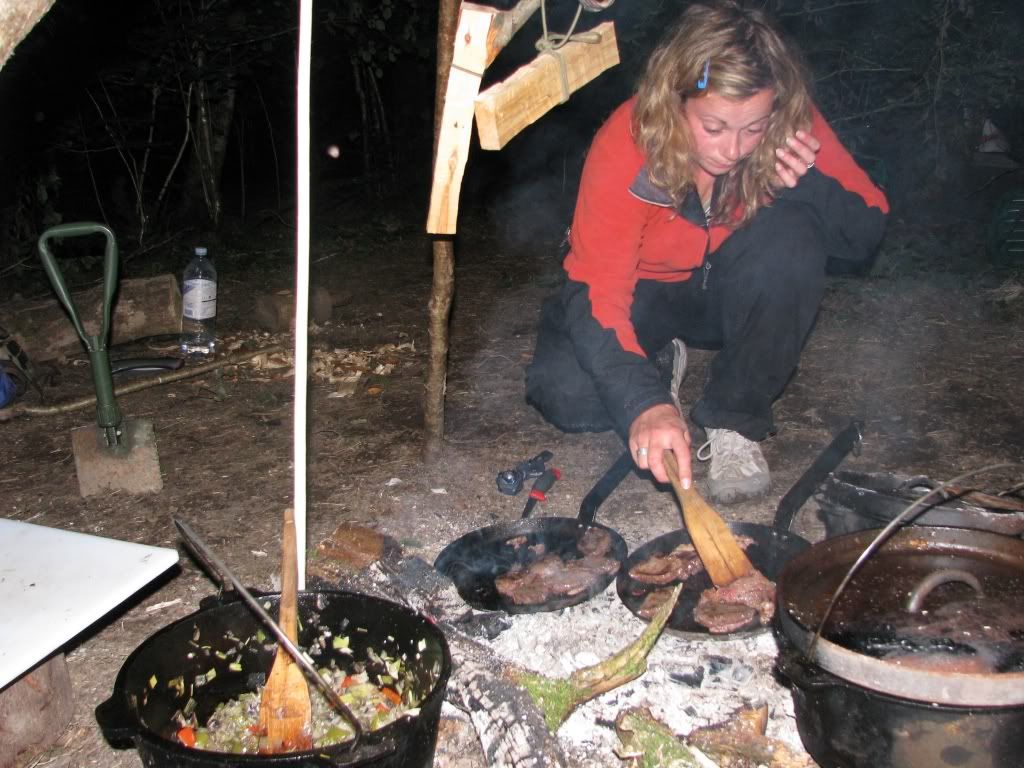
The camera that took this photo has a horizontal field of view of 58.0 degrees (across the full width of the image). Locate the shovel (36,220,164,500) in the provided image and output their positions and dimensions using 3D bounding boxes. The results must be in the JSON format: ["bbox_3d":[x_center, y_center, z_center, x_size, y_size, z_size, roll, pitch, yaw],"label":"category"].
[{"bbox_3d":[-1.825,-0.130,4.074,0.370,1.148,0.624,-11,28,-24],"label":"shovel"}]

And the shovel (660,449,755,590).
[{"bbox_3d":[0.698,0.488,3.337,0.138,0.383,0.414,-19,32,-37],"label":"shovel"}]

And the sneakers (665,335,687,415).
[{"bbox_3d":[0.827,-0.050,4.559,0.084,0.355,0.201,-8,12,-31],"label":"sneakers"}]

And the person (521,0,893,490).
[{"bbox_3d":[0.754,-0.527,3.921,1.475,2.029,0.946,-20,33,-38],"label":"person"}]

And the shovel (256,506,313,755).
[{"bbox_3d":[-0.673,0.736,2.715,0.168,0.736,0.104,-4,-5,0],"label":"shovel"}]

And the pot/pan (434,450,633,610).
[{"bbox_3d":[0.077,0.697,3.539,0.738,0.109,0.501,0,25,-5],"label":"pot/pan"}]
